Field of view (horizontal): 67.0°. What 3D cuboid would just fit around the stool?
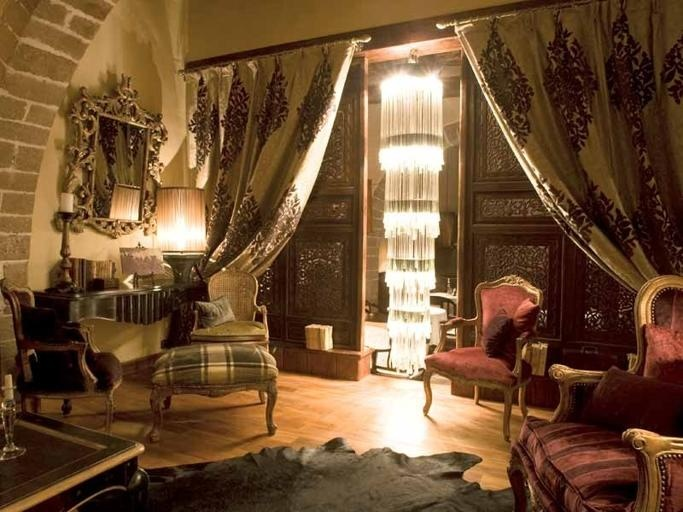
[{"bbox_3d":[-0.929,0.986,3.769,0.885,0.596,0.281,-1,7,-10],"label":"stool"}]

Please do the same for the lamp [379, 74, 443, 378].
[{"bbox_3d":[0.626,-0.264,4.792,0.561,2.789,0.326,1,7,5],"label":"lamp"}]

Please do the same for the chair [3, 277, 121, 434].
[{"bbox_3d":[-2.065,0.677,3.992,0.933,1.352,0.886,0,1,-6],"label":"chair"}]

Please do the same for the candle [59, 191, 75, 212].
[{"bbox_3d":[-2.156,-0.415,4.031,0.090,0.155,0.113,-2,7,-24],"label":"candle"}]

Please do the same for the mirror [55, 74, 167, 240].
[{"bbox_3d":[-2.092,-0.933,4.760,0.160,1.518,1.031,3,7,23],"label":"mirror"}]

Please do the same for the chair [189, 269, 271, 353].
[{"bbox_3d":[-1.031,0.499,4.743,0.736,0.997,0.663,1,-9,-11],"label":"chair"}]
